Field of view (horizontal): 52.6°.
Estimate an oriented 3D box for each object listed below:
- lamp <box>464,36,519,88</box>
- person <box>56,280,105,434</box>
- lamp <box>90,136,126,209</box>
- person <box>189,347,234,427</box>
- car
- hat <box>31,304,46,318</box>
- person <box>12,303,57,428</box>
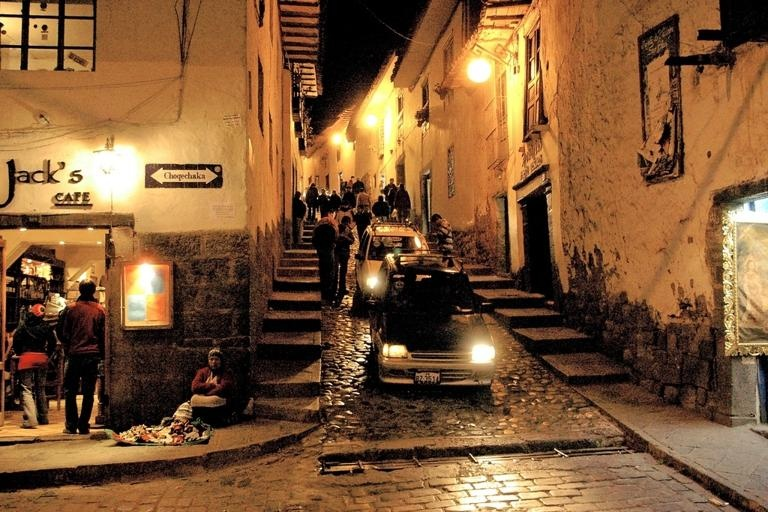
[{"bbox_3d":[2.713,-5.022,20.296,1.102,0.762,1.905,-3,-4,-10],"label":"lamp"},{"bbox_3d":[-5.226,1.924,13.512,0.719,2.279,0.348,-2,-3,-23],"label":"person"},{"bbox_3d":[-4.837,-1.420,13.627,0.508,1.241,0.168,-3,-3,-20],"label":"lamp"},{"bbox_3d":[-2.963,2.270,13.337,0.704,1.274,0.371,-3,-3,-8],"label":"person"},{"bbox_3d":[0.866,1.237,14.845,2.177,2.587,1.829,-4,-3,1],"label":"car"},{"bbox_3d":[-6.410,1.037,14.467,0.232,0.231,0.183,-6,-4,36],"label":"hat"},{"bbox_3d":[-6.455,2.027,14.406,0.692,2.241,0.557,-2,-3,-28],"label":"person"}]
